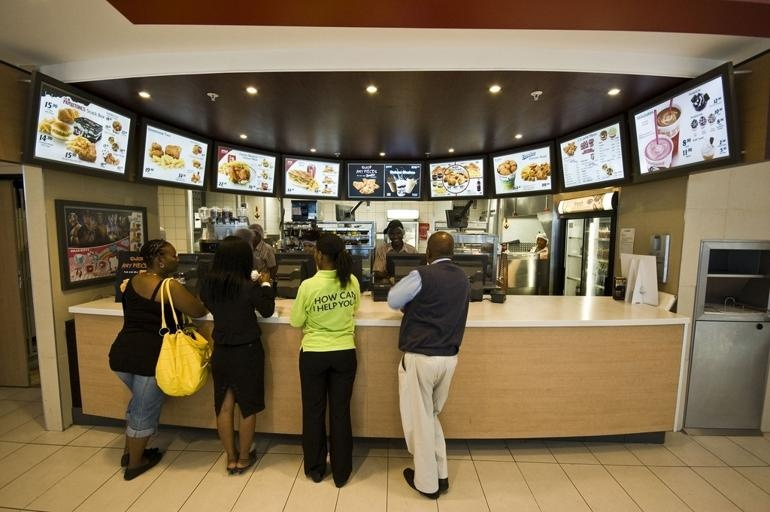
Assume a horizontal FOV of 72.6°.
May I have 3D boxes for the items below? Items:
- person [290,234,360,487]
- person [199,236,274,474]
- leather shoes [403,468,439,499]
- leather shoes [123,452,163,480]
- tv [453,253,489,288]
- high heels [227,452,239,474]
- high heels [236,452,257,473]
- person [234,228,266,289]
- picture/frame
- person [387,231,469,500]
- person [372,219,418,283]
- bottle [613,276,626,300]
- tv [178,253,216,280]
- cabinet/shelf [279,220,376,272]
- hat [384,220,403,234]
[{"bbox_3d":[-0.551,0.952,4.807,0.554,2.317,0.290,1,4,16],"label":"person"},{"bbox_3d":[-1.352,0.925,4.842,0.643,2.211,0.231,-2,4,-18],"label":"person"},{"bbox_3d":[0.301,2.058,4.840,0.138,0.171,0.406,-7,21,-27],"label":"leather shoes"},{"bbox_3d":[-2.262,1.964,4.934,0.142,0.137,0.358,8,10,25],"label":"leather shoes"},{"bbox_3d":[0.860,0.122,5.599,0.461,0.428,0.318,0,-2,3],"label":"tv"},{"bbox_3d":[-1.423,1.942,4.881,0.085,0.095,0.214,1,5,-1],"label":"high heels"},{"bbox_3d":[-1.313,1.954,4.956,0.089,0.080,0.228,3,9,18],"label":"high heels"},{"bbox_3d":[-1.486,-0.018,5.857,0.527,0.694,0.252,0,8,-4],"label":"person"},{"bbox_3d":[-3.083,-0.130,5.741,0.078,0.897,0.984,-4,1,24],"label":"picture/frame"},{"bbox_3d":[0.385,0.981,4.718,0.707,2.386,0.283,0,4,7],"label":"person"},{"bbox_3d":[0.118,0.026,6.282,0.611,0.899,0.534,-1,1,14],"label":"person"},{"bbox_3d":[2.527,0.354,5.679,0.132,0.250,0.085,2,5,30],"label":"bottle"},{"bbox_3d":[-1.966,0.098,5.513,0.346,0.266,0.350,0,7,-10],"label":"tv"},{"bbox_3d":[-0.808,0.070,7.611,1.319,1.199,0.755,0,-4,-1],"label":"cabinet/shelf"},{"bbox_3d":[0.092,-0.352,6.256,0.209,0.106,0.148,0,3,3],"label":"hat"}]
